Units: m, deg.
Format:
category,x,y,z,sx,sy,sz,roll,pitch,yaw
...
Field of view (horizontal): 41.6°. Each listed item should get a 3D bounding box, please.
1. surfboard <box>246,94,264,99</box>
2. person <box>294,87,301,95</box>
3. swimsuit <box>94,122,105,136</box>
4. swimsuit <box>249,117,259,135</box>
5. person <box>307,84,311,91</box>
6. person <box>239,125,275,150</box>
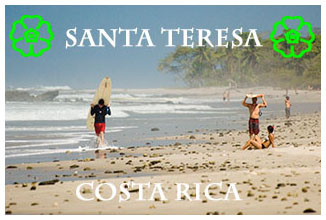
category,x,y,z,sx,sy,sz,roll,pitch,yaw
surfboard,5.281,-0.786,24.594,0.793,0.257,0.823,3,5,-11
person,20.065,-2.820,64.142,0.688,1.155,0.707,-2,-13,5
swimsuit,-3.556,1.086,24.086,0.704,0.939,0.513,0,1,-1
swimsuit,4.562,0.832,21.502,0.461,0.913,0.275,-3,4,6
person,21.974,-3.354,64.188,0.336,0.883,0.257,-1,-33,6
person,4.815,1.372,21.504,1.495,1.175,1.648,-2,5,9
